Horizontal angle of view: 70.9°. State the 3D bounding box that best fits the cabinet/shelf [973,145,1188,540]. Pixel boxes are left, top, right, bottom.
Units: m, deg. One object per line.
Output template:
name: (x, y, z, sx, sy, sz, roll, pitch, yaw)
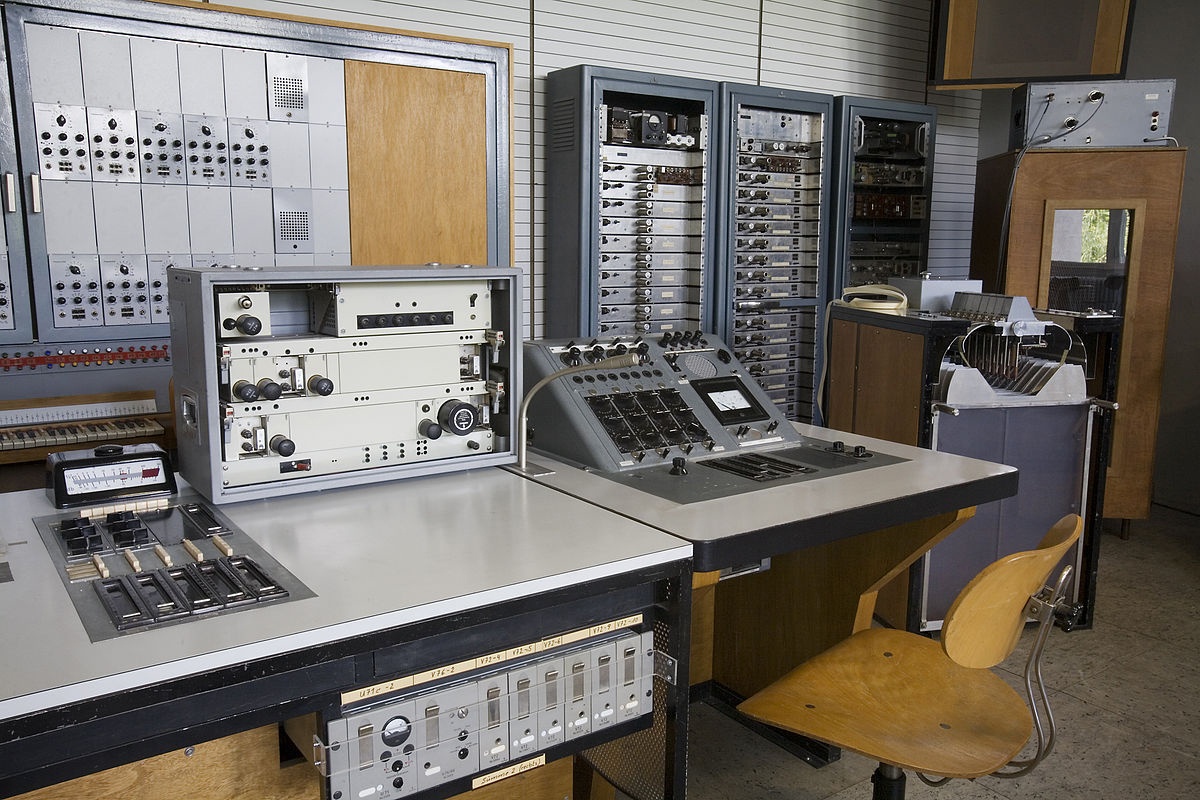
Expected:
cabinet/shelf: (3.139, -0.380, 5.631, 1.144, 2.529, 0.686, 5, 18, 28)
